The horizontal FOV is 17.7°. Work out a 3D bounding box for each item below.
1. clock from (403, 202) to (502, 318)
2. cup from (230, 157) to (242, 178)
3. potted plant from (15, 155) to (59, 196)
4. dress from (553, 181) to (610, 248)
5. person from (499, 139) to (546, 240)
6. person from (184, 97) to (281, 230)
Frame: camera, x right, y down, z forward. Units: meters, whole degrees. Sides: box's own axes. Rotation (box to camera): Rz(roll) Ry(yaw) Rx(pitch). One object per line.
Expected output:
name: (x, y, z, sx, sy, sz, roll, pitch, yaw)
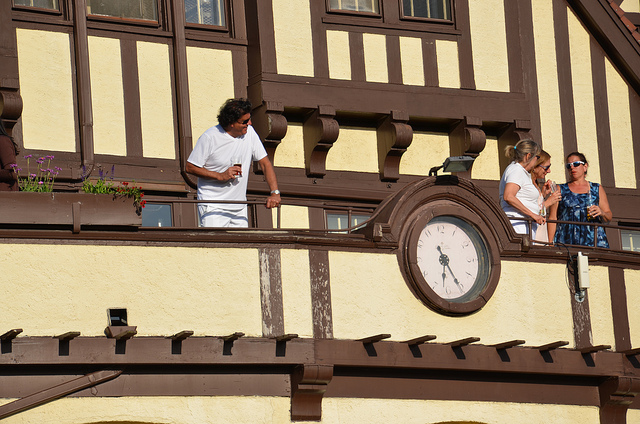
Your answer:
clock: (1.839, 0.606, 28.338, 1.364, 1.504, 0.387, 5, -3, -26)
cup: (-1.150, -0.611, 28.050, 0.265, 0.239, 0.233, 1, -5, -13)
potted plant: (-4.031, -0.489, 28.707, 0.739, 0.658, 0.611, -1, -9, -5)
dress: (3.801, 0.050, 29.831, 0.873, 0.976, 0.580, 4, -35, -1)
person: (2.907, -0.431, 28.991, 0.677, 1.165, 0.447, 4, -3, 4)
person: (-1.235, -0.645, 28.109, 1.021, 1.770, 1.035, 3, -3, 26)
